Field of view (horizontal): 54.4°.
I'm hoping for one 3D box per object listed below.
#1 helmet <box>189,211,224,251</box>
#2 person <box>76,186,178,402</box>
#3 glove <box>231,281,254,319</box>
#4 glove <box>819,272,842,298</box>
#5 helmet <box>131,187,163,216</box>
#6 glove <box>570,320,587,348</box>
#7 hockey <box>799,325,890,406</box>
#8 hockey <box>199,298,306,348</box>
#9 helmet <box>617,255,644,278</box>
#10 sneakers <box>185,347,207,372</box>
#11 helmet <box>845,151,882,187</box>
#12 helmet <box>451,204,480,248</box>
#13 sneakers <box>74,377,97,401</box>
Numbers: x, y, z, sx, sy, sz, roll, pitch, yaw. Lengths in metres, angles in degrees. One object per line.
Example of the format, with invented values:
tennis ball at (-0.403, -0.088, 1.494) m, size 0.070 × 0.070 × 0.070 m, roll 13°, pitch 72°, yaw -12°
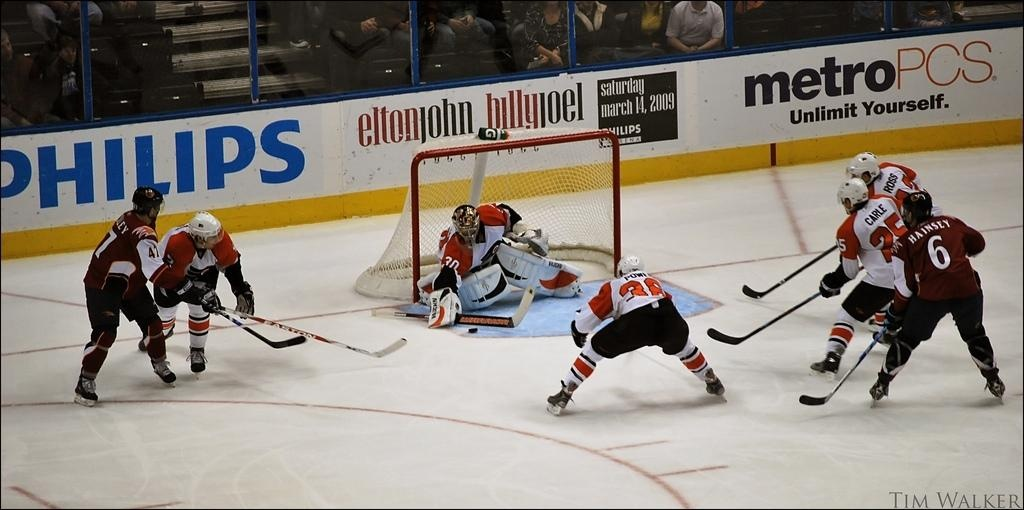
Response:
helmet at (-3.312, -0.293, 10.915) m, size 0.466 × 0.383 × 0.312 m, roll 12°, pitch 35°, yaw -15°
person at (-4.216, 0.440, 10.669) m, size 1.209 × 2.235 × 0.549 m, roll -9°, pitch 14°, yaw -15°
glove at (-3.047, 0.528, 11.404) m, size 0.272 × 0.348 × 0.123 m, roll -5°, pitch 10°, yaw 30°
glove at (3.551, 0.350, 11.030) m, size 0.243 × 0.197 × 0.251 m, roll -46°, pitch -14°, yaw 31°
helmet at (-3.915, -0.581, 10.817) m, size 0.392 × 0.317 × 0.313 m, roll -1°, pitch 23°, yaw -31°
glove at (0.716, 0.865, 10.397) m, size 0.137 × 0.317 × 0.160 m, roll -6°, pitch 23°, yaw -25°
hockey at (3.546, 1.219, 10.526) m, size 1.017 × 0.179 × 0.185 m, roll -46°, pitch 22°, yaw -13°
hockey at (-2.919, 0.811, 11.075) m, size 1.443 × 0.095 × 0.417 m, roll 20°, pitch 29°, yaw 23°
helmet at (1.250, 0.126, 10.332) m, size 0.225 × 0.212 × 0.240 m, roll 1°, pitch 16°, yaw -8°
sneakers at (-3.475, 1.172, 10.929) m, size 0.159 × 0.290 × 0.157 m, roll -7°, pitch 13°, yaw -5°
helmet at (4.095, -0.987, 11.359) m, size 0.456 × 0.366 × 0.315 m, roll 8°, pitch 22°, yaw 12°
helmet at (-0.533, -0.338, 11.496) m, size 0.323 × 0.457 × 0.237 m, roll -6°, pitch 13°, yaw -1°
sneakers at (-4.545, 1.442, 10.584) m, size 0.161 × 0.154 × 0.364 m, roll 0°, pitch 16°, yaw -25°
